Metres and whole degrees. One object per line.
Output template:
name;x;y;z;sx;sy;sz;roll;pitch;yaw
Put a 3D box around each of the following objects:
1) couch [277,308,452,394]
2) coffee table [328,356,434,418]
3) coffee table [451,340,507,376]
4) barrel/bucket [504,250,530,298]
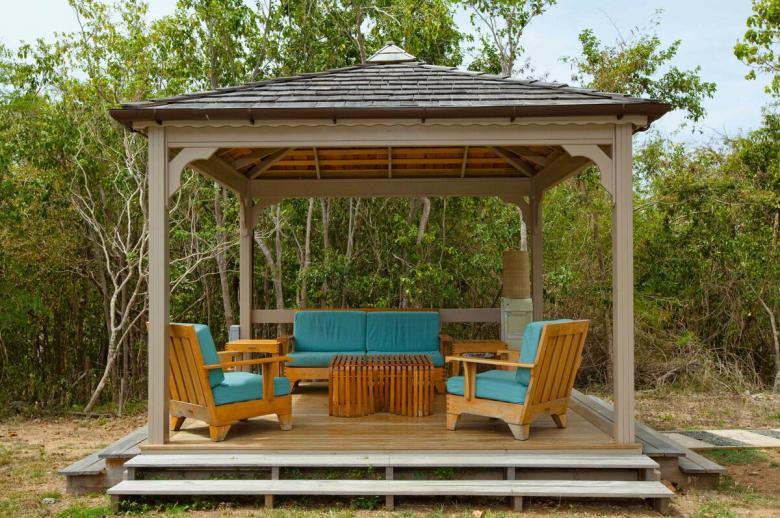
couch;-0.480;1.560;14.154;2.851;1.332;1.255;0;-5;1
coffee table;-0.160;2.112;12.742;1.697;0.841;0.468;0;9;3
coffee table;1.542;1.922;14.071;0.846;0.702;0.638;-1;-8;4
barrel/bucket;2.365;0.308;14.659;0.500;0.870;0.549;-1;-3;0
